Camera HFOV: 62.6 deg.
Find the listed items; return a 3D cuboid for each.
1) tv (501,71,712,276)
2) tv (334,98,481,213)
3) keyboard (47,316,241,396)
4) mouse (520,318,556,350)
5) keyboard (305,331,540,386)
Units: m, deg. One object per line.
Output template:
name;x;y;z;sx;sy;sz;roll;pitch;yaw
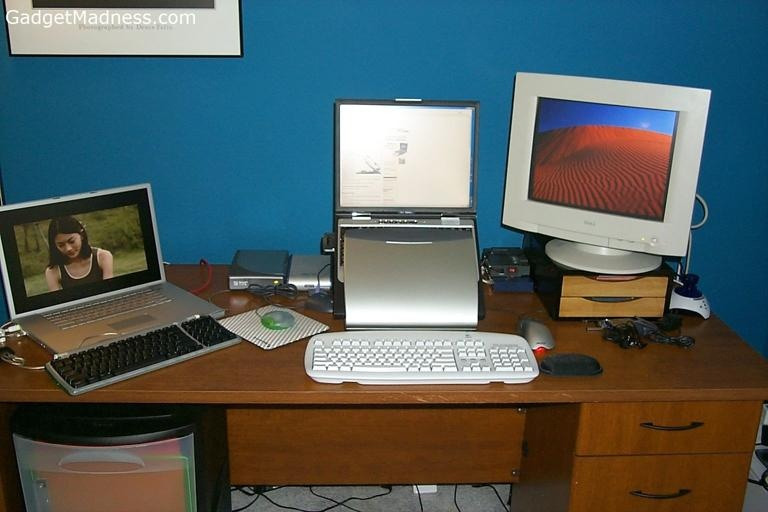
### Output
tv;0.776;-0.309;2.246;0.688;0.675;0.387;7;23;18
tv;0.070;-0.389;2.373;0.459;0.328;0.030;0;6;-3
keyboard;-0.764;0.314;2.031;0.569;0.106;0.175;-10;21;-27
mouse;0.536;0.287;2.137;0.095;0.048;0.158;-6;4;23
keyboard;0.114;0.325;2.020;0.726;0.099;0.203;-1;19;-1
